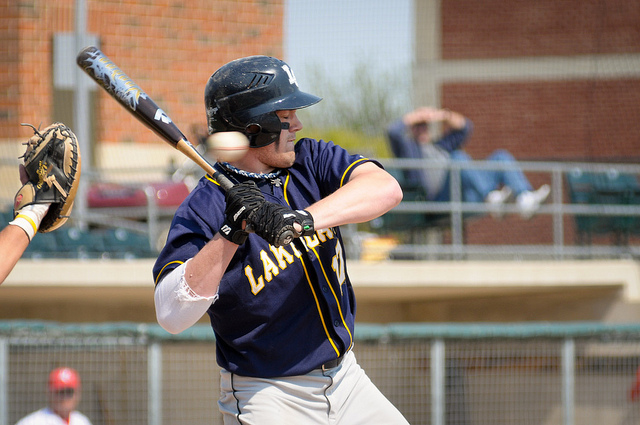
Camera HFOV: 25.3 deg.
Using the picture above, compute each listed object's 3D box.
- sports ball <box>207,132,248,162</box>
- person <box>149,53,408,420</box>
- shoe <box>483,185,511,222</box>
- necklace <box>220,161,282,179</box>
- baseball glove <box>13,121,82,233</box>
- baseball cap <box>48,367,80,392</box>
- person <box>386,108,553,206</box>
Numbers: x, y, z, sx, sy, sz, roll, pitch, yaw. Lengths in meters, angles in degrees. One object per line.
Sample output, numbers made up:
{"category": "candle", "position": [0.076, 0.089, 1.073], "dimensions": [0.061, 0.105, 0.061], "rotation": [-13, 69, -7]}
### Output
{"category": "sports ball", "position": [-0.603, -0.438, 9.629], "dimensions": [0.267, 0.134, 0.258], "rotation": [-4, 6, 0]}
{"category": "person", "position": [-0.323, 0.211, 9.540], "dimensions": [1.577, 2.496, 0.721], "rotation": [-3, 11, 2]}
{"category": "shoe", "position": [1.418, -0.056, 11.385], "dimensions": [0.185, 0.272, 0.116], "rotation": [10, -6, 38]}
{"category": "necklace", "position": [-0.465, -0.285, 9.597], "dimensions": [0.410, 0.122, 0.080], "rotation": [-3, 10, -3]}
{"category": "baseball glove", "position": [-1.867, -0.267, 10.196], "dimensions": [0.558, 0.687, 0.293], "rotation": [4, 3, 40]}
{"category": "baseball cap", "position": [-1.895, 1.296, 10.570], "dimensions": [0.240, 0.232, 0.320], "rotation": [2, 9, -5]}
{"category": "person", "position": [1.164, -0.449, 11.568], "dimensions": [1.252, 0.848, 0.596], "rotation": [1, 11, 18]}
